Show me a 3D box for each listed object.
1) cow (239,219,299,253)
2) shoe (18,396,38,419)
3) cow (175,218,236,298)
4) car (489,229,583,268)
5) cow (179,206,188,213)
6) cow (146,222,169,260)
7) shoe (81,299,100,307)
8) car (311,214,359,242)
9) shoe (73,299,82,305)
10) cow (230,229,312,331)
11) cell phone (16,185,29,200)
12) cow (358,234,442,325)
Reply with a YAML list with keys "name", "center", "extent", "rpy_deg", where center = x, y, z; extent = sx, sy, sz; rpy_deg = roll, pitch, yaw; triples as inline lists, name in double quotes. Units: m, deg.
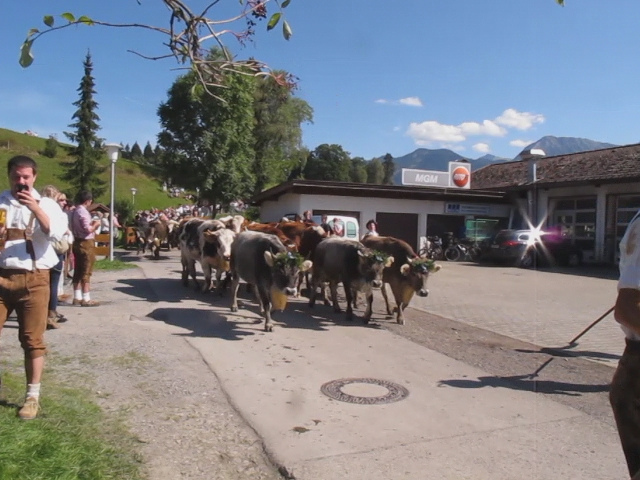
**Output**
- name: "cow"
  center: [-1.425, -0.174, 13.079]
  extent: [0.711, 1.170, 2.180]
  rpy_deg: [-8, 19, -30]
- name: "shoe"
  center: [-2.908, 1.660, 4.836]
  extent: [0.160, 0.173, 0.180]
  rpy_deg: [0, 6, -31]
- name: "cow"
  center: [-3.081, 0.435, 13.105]
  extent: [0.995, 2.003, 3.560]
  rpy_deg: [-2, 5, -33]
- name: "car"
  center: [10.002, 0.230, 22.696]
  extent: [3.935, 1.481, 1.821]
  rpy_deg: [-2, 4, -18]
- name: "cow"
  center: [-11.764, -2.599, 41.621]
  extent: [0.793, 0.382, 1.108]
  rpy_deg: [-1, 4, -16]
- name: "cow"
  center: [-7.753, -0.202, 23.593]
  extent: [0.627, 1.346, 2.520]
  rpy_deg: [-1, 9, 7]
- name: "shoe"
  center: [-4.807, 1.304, 10.189]
  extent: [0.366, 0.151, 0.123]
  rpy_deg: [0, 3, -25]
- name: "car"
  center: [0.853, -0.594, 18.863]
  extent: [1.082, 0.937, 1.663]
  rpy_deg: [-2, 17, -18]
- name: "shoe"
  center: [-5.068, 1.284, 10.147]
  extent: [0.259, 0.108, 0.040]
  rpy_deg: [5, 6, 24]
- name: "cow"
  center: [-1.160, 0.816, 10.226]
  extent: [0.924, 1.721, 3.130]
  rpy_deg: [-2, 7, -28]
- name: "cell phone"
  center: [-3.001, -0.484, 4.888]
  extent: [0.117, 0.129, 0.121]
  rpy_deg: [3, 2, -22]
- name: "cow"
  center: [1.755, 0.943, 11.395]
  extent: [0.958, 1.763, 3.381]
  rpy_deg: [-1, 2, -13]
